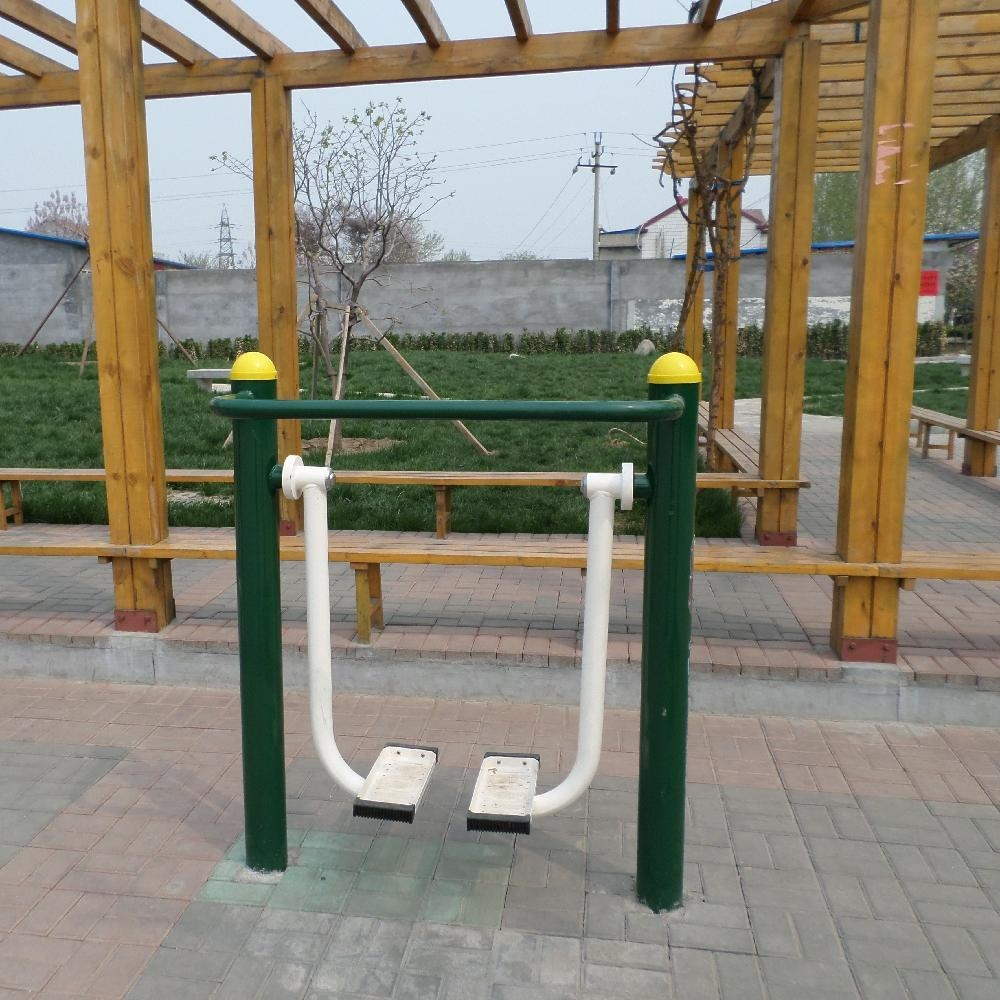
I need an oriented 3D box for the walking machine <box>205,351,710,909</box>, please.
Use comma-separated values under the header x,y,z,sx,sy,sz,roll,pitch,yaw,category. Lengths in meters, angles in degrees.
x,y,z,sx,sy,sz,roll,pitch,yaw,category
-0.162,0.408,3.133,1.437,1.679,0.529,1,12,9,walking machine
